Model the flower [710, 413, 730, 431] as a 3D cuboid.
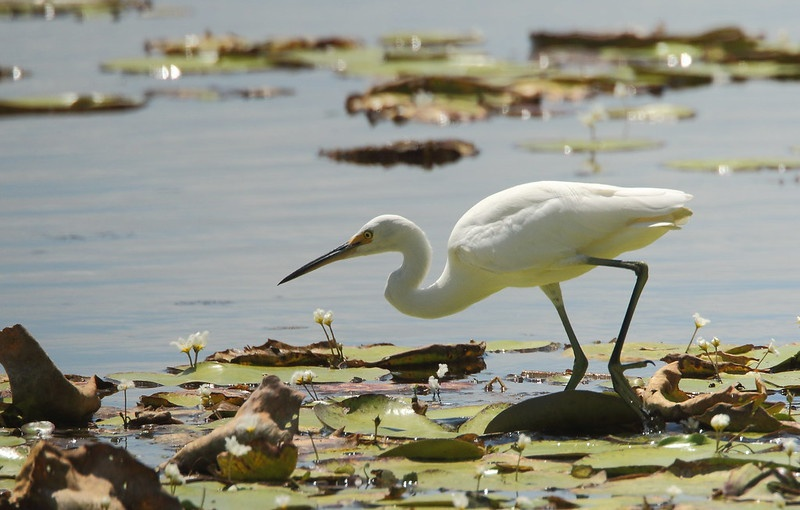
[{"bbox_3d":[2.814,1.482,11.101,0.138,0.181,0.292,-1,5,18],"label":"flower"}]
